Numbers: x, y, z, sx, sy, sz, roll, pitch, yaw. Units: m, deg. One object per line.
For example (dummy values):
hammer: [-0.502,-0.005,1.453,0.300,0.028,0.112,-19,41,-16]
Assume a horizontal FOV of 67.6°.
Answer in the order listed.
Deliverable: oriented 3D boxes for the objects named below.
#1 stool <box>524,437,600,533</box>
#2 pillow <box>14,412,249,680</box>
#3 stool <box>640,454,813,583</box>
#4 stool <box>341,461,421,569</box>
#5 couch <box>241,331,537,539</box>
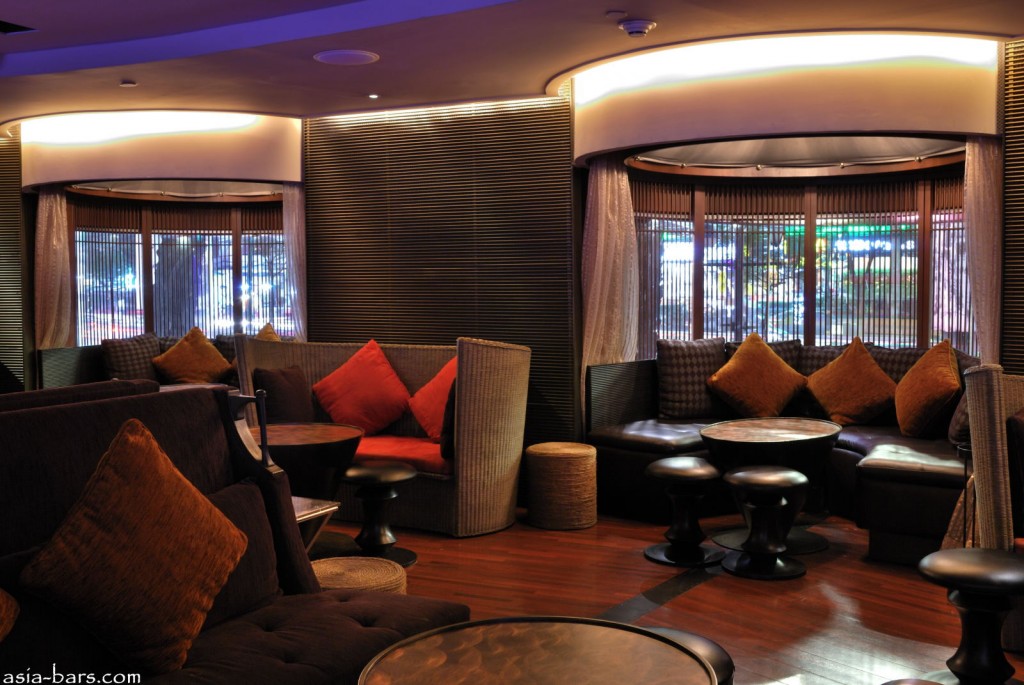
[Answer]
stool: [0.399,1.121,5.961,0.644,0.598,0.623,0,1,26]
pillow: [-1.363,0.746,2.817,0.406,0.854,0.622,2,8,19]
stool: [1.443,1.162,5.121,1.345,0.725,0.712,1,3,31]
stool: [-0.897,1.151,5.338,0.685,0.658,0.636,-2,4,-32]
couch: [-0.707,0.831,6.320,2.733,1.525,1.528,-1,-5,20]
